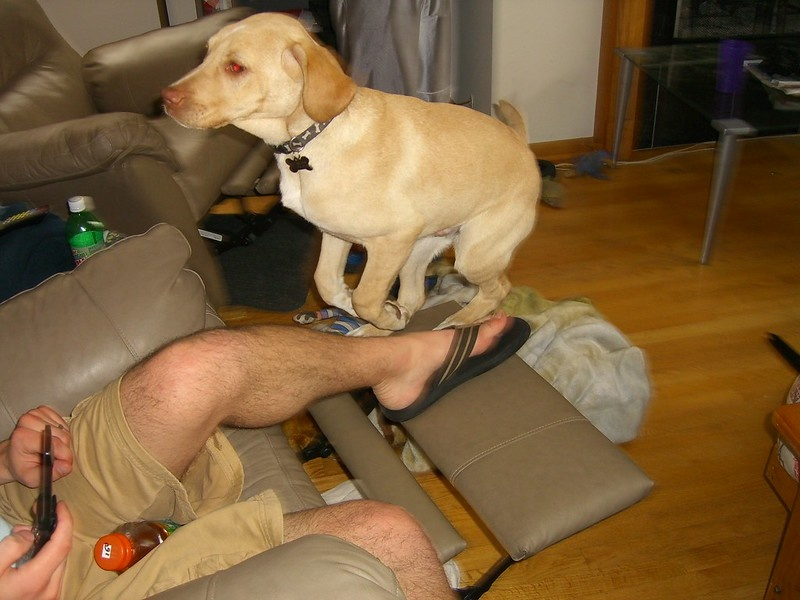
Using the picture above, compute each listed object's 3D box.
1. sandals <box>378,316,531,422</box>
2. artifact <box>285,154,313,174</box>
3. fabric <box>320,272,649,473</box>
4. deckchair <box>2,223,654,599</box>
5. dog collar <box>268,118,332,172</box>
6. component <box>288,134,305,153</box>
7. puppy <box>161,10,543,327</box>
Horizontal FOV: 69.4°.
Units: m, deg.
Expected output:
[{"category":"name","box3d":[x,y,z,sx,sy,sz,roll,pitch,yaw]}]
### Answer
[{"category":"sandals","box3d":[0.150,0.151,1.394,0.452,0.114,0.146,-25,58,-17]},{"category":"artifact","box3d":[-0.212,-0.274,1.161,0.043,0.031,0.009,-2,25,21]},{"category":"fabric","box3d":[0.289,0.181,1.908,0.788,0.202,0.539,29,59,9]},{"category":"deckchair","box3d":[-0.073,0.265,1.350,1.083,0.600,0.771,-27,65,-8]},{"category":"dog collar","box3d":[-0.203,-0.303,1.157,0.121,0.040,0.084,-36,13,-8]},{"category":"component","box3d":[-0.209,-0.310,1.153,0.040,0.024,0.013,-23,6,20]},{"category":"puppy","box3d":[-0.063,-0.238,1.294,0.858,0.532,0.301,2,12,-25]}]
